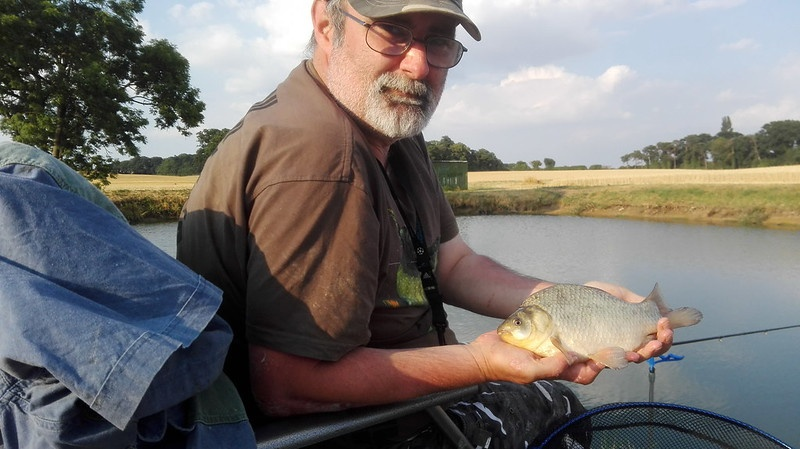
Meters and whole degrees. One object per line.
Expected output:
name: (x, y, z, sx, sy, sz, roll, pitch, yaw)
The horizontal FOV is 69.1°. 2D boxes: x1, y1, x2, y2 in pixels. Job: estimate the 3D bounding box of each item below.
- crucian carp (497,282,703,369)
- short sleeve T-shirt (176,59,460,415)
crucian carp: (1.554, 0.730, 4.426, 1.511, 0.658, 0.356, -2, 7, 1)
short sleeve T-shirt: (-0.512, 0.040, 4.459, 1.407, 2.839, 1.959, 2, 2, 27)
